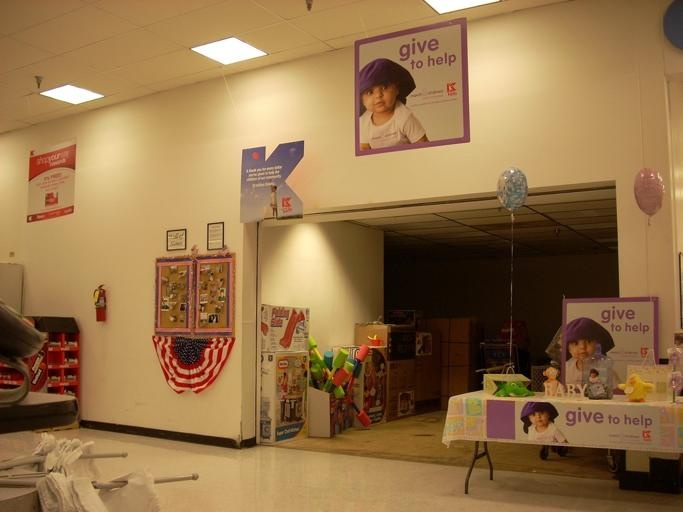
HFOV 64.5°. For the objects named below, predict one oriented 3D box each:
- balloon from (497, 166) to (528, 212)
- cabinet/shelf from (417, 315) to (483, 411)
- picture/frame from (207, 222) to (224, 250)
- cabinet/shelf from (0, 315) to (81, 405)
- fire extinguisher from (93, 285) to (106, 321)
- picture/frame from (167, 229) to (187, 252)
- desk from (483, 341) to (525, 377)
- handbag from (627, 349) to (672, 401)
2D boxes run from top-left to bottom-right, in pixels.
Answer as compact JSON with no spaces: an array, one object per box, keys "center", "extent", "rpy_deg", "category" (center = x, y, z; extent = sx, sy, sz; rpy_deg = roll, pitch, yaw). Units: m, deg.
[{"center":[1.803,-0.725,5.717],"extent":[0.285,0.507,0.306],"rpy_deg":[2,22,26],"category":"balloon"},{"center":[2.033,2.249,11.318],"extent":[1.115,1.731,1.050],"rpy_deg":[21,-18,-39],"category":"cabinet/shelf"},{"center":[-1.748,-0.277,7.547],"extent":[0.323,0.487,0.018],"rpy_deg":[-3,-6,32],"category":"picture/frame"},{"center":[-4.404,1.568,8.330],"extent":[0.327,1.277,0.795],"rpy_deg":[-2,-6,28],"category":"cabinet/shelf"},{"center":[-3.774,0.716,8.411],"extent":[0.263,0.580,0.120],"rpy_deg":[-2,-6,29],"category":"fire extinguisher"},{"center":[-2.383,-0.232,7.858],"extent":[0.271,0.269,0.031],"rpy_deg":[-2,-5,30],"category":"picture/frame"},{"center":[3.288,2.175,11.104],"extent":[0.752,0.821,0.472],"rpy_deg":[-1,-33,16],"category":"desk"},{"center":[2.822,1.141,4.967],"extent":[0.325,0.371,0.112],"rpy_deg":[-6,10,40],"category":"handbag"}]
